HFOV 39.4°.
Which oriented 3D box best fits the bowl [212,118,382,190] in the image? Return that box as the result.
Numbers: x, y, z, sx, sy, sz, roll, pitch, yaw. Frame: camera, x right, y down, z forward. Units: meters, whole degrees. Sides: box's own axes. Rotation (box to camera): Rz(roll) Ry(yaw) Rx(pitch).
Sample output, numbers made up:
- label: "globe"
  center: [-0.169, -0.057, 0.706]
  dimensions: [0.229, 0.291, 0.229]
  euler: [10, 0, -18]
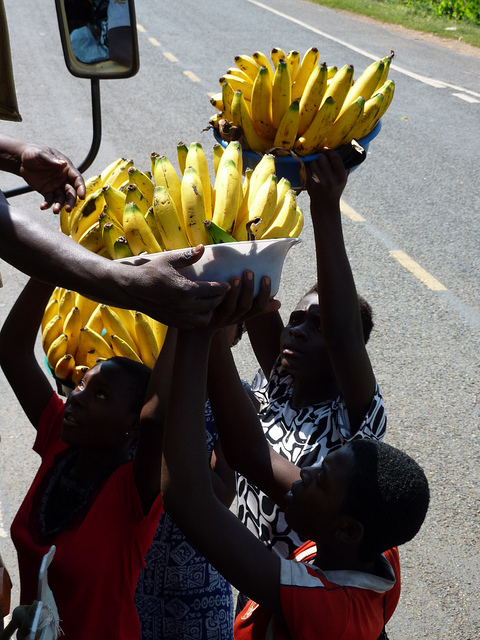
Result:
- label: "bowl"
  center: [0.194, -0.482, 2.057]
  dimensions: [0.330, 0.127, 0.340]
  euler: [1, 26, -1]

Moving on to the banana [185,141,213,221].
- label: "banana"
  center: [-0.096, -0.363, 1.672]
  dimensions: [0.057, 0.081, 0.243]
  euler: [-9, 72, 4]

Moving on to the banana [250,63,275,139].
- label: "banana"
  center: [0.088, -0.697, 2.203]
  dimensions: [0.064, 0.259, 0.088]
  euler: [-4, 16, 4]

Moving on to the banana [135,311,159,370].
- label: "banana"
  center: [-0.263, 0.058, 1.907]
  dimensions: [0.054, 0.172, 0.039]
  euler: [25, 53, 30]

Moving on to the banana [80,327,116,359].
- label: "banana"
  center: [-0.436, 0.077, 2.050]
  dimensions: [0.106, 0.028, 0.036]
  euler: [44, 56, -19]

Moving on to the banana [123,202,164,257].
- label: "banana"
  center: [-0.213, -0.195, 1.485]
  dimensions: [0.040, 0.153, 0.049]
  euler: [-23, 8, 26]

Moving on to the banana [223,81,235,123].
- label: "banana"
  center: [-0.038, -0.720, 2.209]
  dimensions: [0.045, 0.144, 0.038]
  euler: [2, 6, 12]

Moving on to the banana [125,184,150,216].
- label: "banana"
  center: [-0.247, -0.293, 1.666]
  dimensions: [0.029, 0.108, 0.038]
  euler: [18, 69, 25]

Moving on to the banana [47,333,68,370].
- label: "banana"
  center: [-0.557, 0.097, 2.047]
  dimensions: [0.043, 0.134, 0.036]
  euler: [-21, 61, -31]

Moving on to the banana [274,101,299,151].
- label: "banana"
  center: [0.148, -0.579, 2.107]
  dimensions: [0.054, 0.196, 0.062]
  euler: [8, 46, 5]

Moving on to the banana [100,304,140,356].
- label: "banana"
  center: [-0.348, 0.044, 2.032]
  dimensions: [0.047, 0.204, 0.066]
  euler: [-19, 36, 22]

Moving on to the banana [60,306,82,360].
- label: "banana"
  center: [-0.528, 0.039, 2.100]
  dimensions: [0.045, 0.178, 0.056]
  euler: [5, 17, -3]

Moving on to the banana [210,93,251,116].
- label: "banana"
  center: [-0.047, -0.806, 2.476]
  dimensions: [0.097, 0.084, 0.283]
  euler: [-13, 19, 5]

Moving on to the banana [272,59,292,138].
- label: "banana"
  center: [0.142, -0.718, 2.212]
  dimensions: [0.053, 0.262, 0.086]
  euler: [2, 2, 6]

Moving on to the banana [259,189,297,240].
- label: "banana"
  center: [0.111, -0.233, 1.603]
  dimensions: [0.040, 0.151, 0.050]
  euler: [-24, 70, -39]

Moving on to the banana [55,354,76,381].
- label: "banana"
  center: [-0.528, 0.149, 2.030]
  dimensions: [0.047, 0.085, 0.027]
  euler: [-10, 31, -28]

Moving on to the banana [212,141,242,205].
- label: "banana"
  center: [-0.032, -0.392, 1.758]
  dimensions: [0.050, 0.064, 0.193]
  euler: [-16, 36, 15]

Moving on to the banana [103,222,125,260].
- label: "banana"
  center: [-0.310, -0.190, 1.594]
  dimensions: [0.042, 0.037, 0.118]
  euler: [38, 26, -49]

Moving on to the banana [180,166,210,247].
- label: "banana"
  center: [-0.102, -0.255, 1.512]
  dimensions: [0.066, 0.049, 0.205]
  euler: [8, 64, -43]

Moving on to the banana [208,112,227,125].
- label: "banana"
  center: [-0.079, -0.697, 2.307]
  dimensions: [0.056, 0.046, 0.079]
  euler: [-2, 2, 3]

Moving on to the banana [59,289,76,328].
- label: "banana"
  center: [-0.544, -0.028, 2.118]
  dimensions: [0.032, 0.124, 0.039]
  euler: [5, -4, -5]

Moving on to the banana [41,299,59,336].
- label: "banana"
  center: [-0.627, -0.019, 2.276]
  dimensions: [0.038, 0.045, 0.141]
  euler: [11, 62, 1]

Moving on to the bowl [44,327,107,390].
- label: "bowl"
  center: [-0.520, 0.173, 2.168]
  dimensions: [0.211, 0.230, 0.085]
  euler: [4, 21, 32]

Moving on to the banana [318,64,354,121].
- label: "banana"
  center: [0.349, -0.761, 2.226]
  dimensions: [0.079, 0.103, 0.303]
  euler: [26, 35, 1]

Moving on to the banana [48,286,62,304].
- label: "banana"
  center: [-0.605, -0.080, 2.197]
  dimensions: [0.013, 0.063, 0.022]
  euler: [21, -7, 7]

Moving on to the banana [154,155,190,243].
- label: "banana"
  center: [-0.174, -0.318, 1.664]
  dimensions: [0.061, 0.076, 0.238]
  euler: [-11, 72, 3]

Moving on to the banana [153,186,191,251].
- label: "banana"
  center: [-0.145, -0.210, 1.514]
  dimensions: [0.055, 0.182, 0.049]
  euler: [-12, 10, 8]

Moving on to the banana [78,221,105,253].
- label: "banana"
  center: [-0.410, -0.202, 1.848]
  dimensions: [0.037, 0.138, 0.047]
  euler: [27, 54, -5]

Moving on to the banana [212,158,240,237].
- label: "banana"
  center: [-0.028, -0.286, 1.572]
  dimensions: [0.049, 0.067, 0.190]
  euler: [5, 60, 0]

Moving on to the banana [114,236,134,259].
- label: "banana"
  center: [-0.260, -0.157, 1.489]
  dimensions: [0.034, 0.030, 0.052]
  euler: [22, 41, -58]

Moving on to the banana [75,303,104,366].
- label: "banana"
  center: [-0.469, 0.056, 2.090]
  dimensions: [0.041, 0.063, 0.185]
  euler: [15, 71, -8]
